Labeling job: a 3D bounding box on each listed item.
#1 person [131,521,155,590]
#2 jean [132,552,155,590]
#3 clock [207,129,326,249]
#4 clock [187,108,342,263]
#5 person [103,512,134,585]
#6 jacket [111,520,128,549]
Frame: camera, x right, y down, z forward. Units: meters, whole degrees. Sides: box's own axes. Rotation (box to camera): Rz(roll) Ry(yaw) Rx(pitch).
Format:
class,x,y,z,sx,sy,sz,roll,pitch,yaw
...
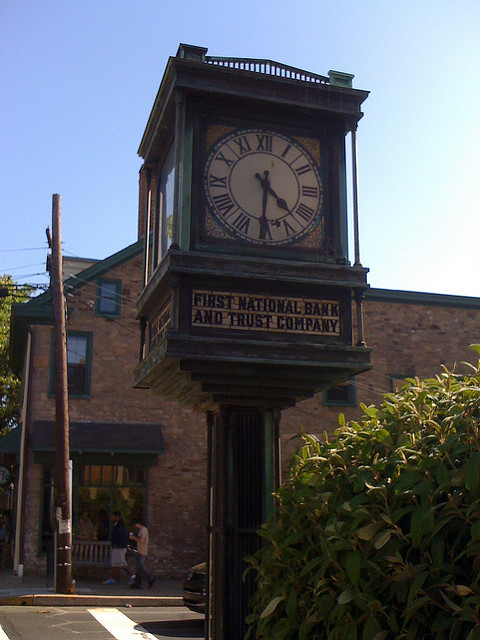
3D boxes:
class,x,y,z,sx,sy,sz,roll,pitch,yaw
person,-1.956,4.846,18.339,0.532,1.301,0.435,-1,-51,-3
jean,-1.870,4.847,17.450,0.381,0.671,0.693,0,-14,-6
clock,0.185,-1.082,7.783,0.813,0.779,0.057,-43,0,-39
clock,0.155,-1.107,7.764,1.199,1.173,0.093,5,-21,-18
person,-2.362,4.455,17.590,0.546,1.351,1.142,0,-14,-8
jacket,-2.298,4.129,17.315,0.296,0.532,0.448,0,-14,-9
